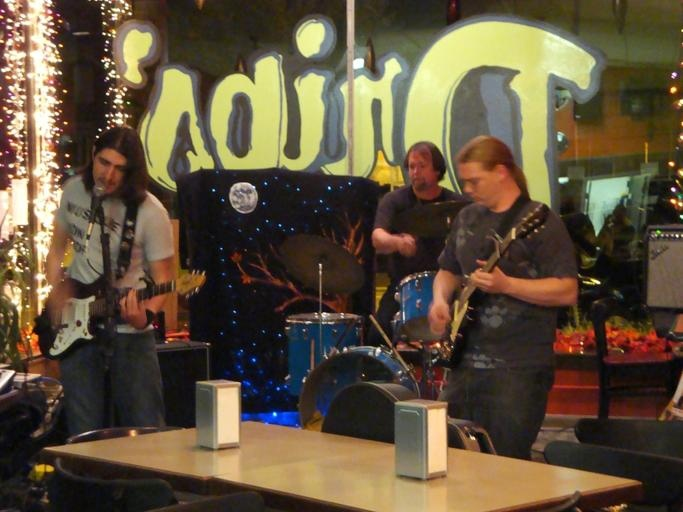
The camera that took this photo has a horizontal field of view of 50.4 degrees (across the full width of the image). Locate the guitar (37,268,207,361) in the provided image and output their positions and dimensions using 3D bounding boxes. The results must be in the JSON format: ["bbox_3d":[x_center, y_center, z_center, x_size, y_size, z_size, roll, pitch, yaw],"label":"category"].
[{"bbox_3d":[-1.218,0.319,3.853,0.851,0.447,0.205,1,-1,2],"label":"guitar"}]

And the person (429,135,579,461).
[{"bbox_3d":[0.704,0.172,3.390,0.441,1.467,0.716,2,-2,-39],"label":"person"}]

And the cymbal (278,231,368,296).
[{"bbox_3d":[-0.145,0.069,5.237,0.589,0.402,0.471,1,-2,-5],"label":"cymbal"}]

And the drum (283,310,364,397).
[{"bbox_3d":[-0.116,0.728,5.500,0.532,0.581,0.571,0,-4,7],"label":"drum"}]

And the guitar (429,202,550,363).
[{"bbox_3d":[0.701,0.144,3.349,0.124,0.916,0.330,12,28,-23],"label":"guitar"}]

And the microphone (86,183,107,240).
[{"bbox_3d":[-1.300,-0.229,3.822,0.076,0.291,0.076,8,-22,0],"label":"microphone"}]

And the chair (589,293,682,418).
[{"bbox_3d":[2.279,0.816,5.682,0.614,0.930,0.922,0,-2,19],"label":"chair"}]

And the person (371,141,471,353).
[{"bbox_3d":[0.624,-0.099,5.347,0.674,1.486,0.669,11,-16,-34],"label":"person"}]

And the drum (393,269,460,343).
[{"bbox_3d":[0.517,0.305,4.627,0.369,0.373,0.387,15,-37,-18],"label":"drum"}]
